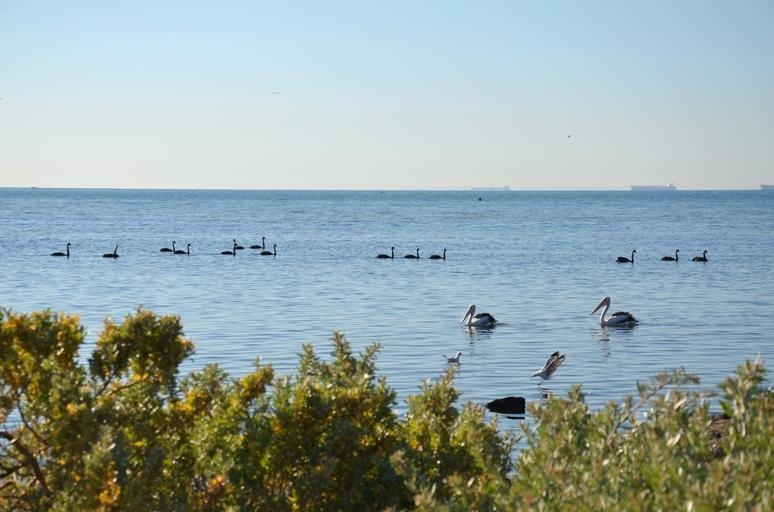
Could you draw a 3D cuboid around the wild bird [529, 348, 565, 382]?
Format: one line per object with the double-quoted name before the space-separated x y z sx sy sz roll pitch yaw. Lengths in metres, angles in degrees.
"wild bird" 6.963 4.730 58.745 0.755 1.257 1.464 44 -21 1
